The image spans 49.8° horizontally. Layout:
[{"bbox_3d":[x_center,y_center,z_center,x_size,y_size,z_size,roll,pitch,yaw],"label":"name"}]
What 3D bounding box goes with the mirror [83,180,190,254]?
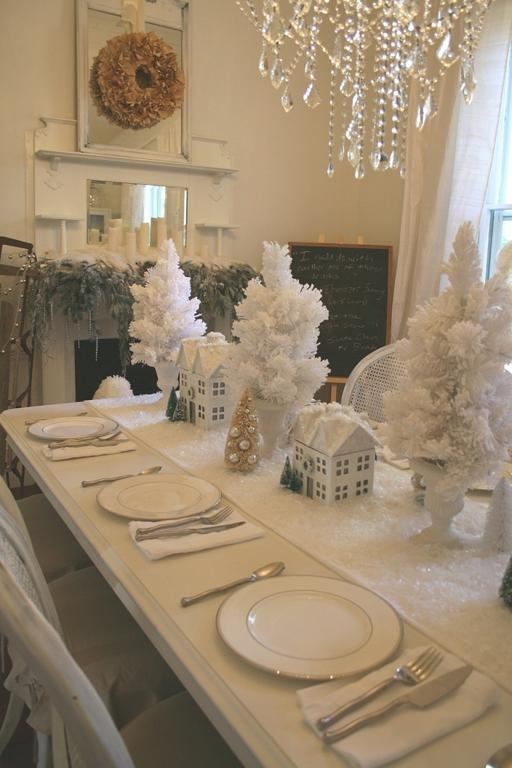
[{"bbox_3d":[-0.630,-0.935,3.129,0.616,0.485,0.411,0,8,-24],"label":"mirror"}]
